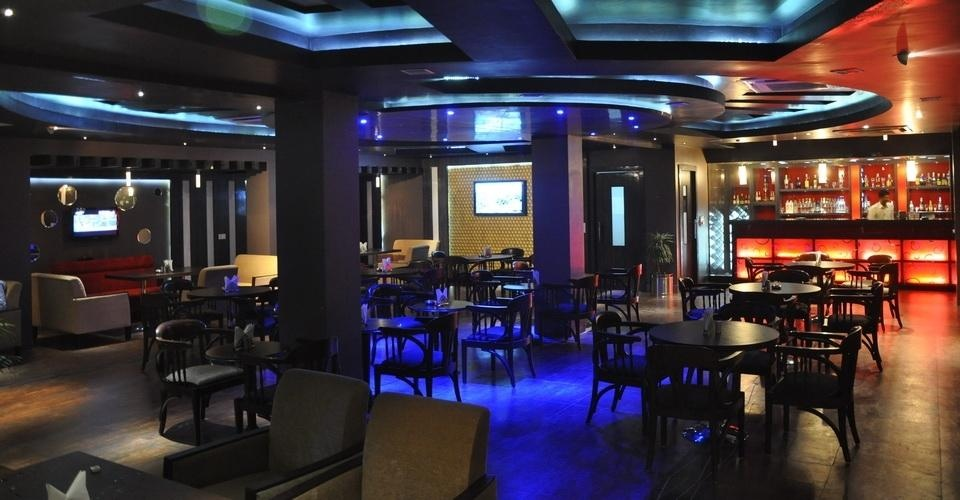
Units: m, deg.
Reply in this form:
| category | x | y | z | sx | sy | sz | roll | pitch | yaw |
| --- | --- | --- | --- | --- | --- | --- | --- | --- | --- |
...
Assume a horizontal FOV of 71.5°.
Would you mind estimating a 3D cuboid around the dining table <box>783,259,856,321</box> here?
| category | x | y | z | sx | sy | sz | roll | pitch | yaw |
| --- | --- | --- | --- | --- | --- | --- | --- | --- | --- |
| dining table | 6.926 | 0.903 | 13.955 | 1.486 | 0.914 | 1.466 | 3 | 8 | 35 |

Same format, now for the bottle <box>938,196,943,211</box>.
| category | x | y | z | sx | sy | sz | roll | pitch | yaw |
| --- | --- | --- | --- | --- | --- | --- | --- | --- | --- |
| bottle | 12.043 | -1.211 | 17.378 | 0.122 | 0.370 | 0.052 | 0 | 1 | 28 |

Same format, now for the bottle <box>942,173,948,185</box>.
| category | x | y | z | sx | sy | sz | roll | pitch | yaw |
| --- | --- | --- | --- | --- | --- | --- | --- | --- | --- |
| bottle | 12.052 | -1.797 | 17.233 | 0.181 | 0.295 | 0.065 | 0 | 1 | 30 |

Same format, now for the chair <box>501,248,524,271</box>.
| category | x | y | z | sx | sy | sz | roll | pitch | yaw |
| --- | --- | --- | --- | --- | --- | --- | --- | --- | --- |
| chair | 0.949 | 0.251 | 18.117 | 0.746 | 0.673 | 0.584 | -1 | -8 | 7 |

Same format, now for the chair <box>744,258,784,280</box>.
| category | x | y | z | sx | sy | sz | roll | pitch | yaw |
| --- | --- | --- | --- | --- | --- | --- | --- | --- | --- |
| chair | 6.819 | 0.455 | 15.872 | 0.700 | 0.782 | 0.619 | -4 | 2 | 17 |

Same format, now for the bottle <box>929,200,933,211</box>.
| category | x | y | z | sx | sy | sz | roll | pitch | yaw |
| --- | --- | --- | --- | --- | --- | --- | --- | --- | --- |
| bottle | 11.859 | -1.143 | 17.449 | 0.103 | 0.224 | 0.056 | 0 | 1 | 29 |

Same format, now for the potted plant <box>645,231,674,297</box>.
| category | x | y | z | sx | sy | sz | roll | pitch | yaw |
| --- | --- | --- | --- | --- | --- | --- | --- | --- | --- |
| potted plant | 4.828 | 0.367 | 17.827 | 0.758 | 1.642 | 0.424 | 0 | 1 | 13 |

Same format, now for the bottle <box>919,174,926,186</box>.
| category | x | y | z | sx | sy | sz | roll | pitch | yaw |
| --- | --- | --- | --- | --- | --- | --- | --- | --- | --- |
| bottle | 11.605 | -1.805 | 17.437 | 0.227 | 0.276 | 0.069 | 0 | 1 | 27 |

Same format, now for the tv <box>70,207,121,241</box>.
| category | x | y | z | sx | sy | sz | roll | pitch | yaw |
| --- | --- | --- | --- | --- | --- | --- | --- | --- | --- |
| tv | -9.606 | -0.632 | 16.553 | 0.124 | 0.610 | 1.027 | -2 | -1 | 41 |

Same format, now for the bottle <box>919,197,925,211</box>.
| category | x | y | z | sx | sy | sz | roll | pitch | yaw |
| --- | --- | --- | --- | --- | --- | --- | --- | --- | --- |
| bottle | 11.655 | -1.210 | 17.531 | 0.166 | 0.349 | 0.068 | 0 | 1 | 27 |

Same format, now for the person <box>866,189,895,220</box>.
| category | x | y | z | sx | sy | sz | roll | pitch | yaw |
| --- | --- | --- | --- | --- | --- | --- | --- | --- | --- |
| person | 10.518 | -1.176 | 17.409 | 0.593 | 0.806 | 1.154 | 0 | 1 | 30 |

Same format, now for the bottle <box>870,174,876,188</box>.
| category | x | y | z | sx | sy | sz | roll | pitch | yaw |
| --- | --- | --- | --- | --- | --- | --- | --- | --- | --- |
| bottle | 10.655 | -1.825 | 18.010 | 0.176 | 0.309 | 0.057 | 0 | 1 | 22 |

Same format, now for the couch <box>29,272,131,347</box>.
| category | x | y | z | sx | sy | sz | roll | pitch | yaw |
| --- | --- | --- | --- | --- | --- | --- | --- | --- | --- |
| couch | -8.524 | 1.180 | 14.148 | 2.119 | 1.215 | 1.161 | 1 | 2 | 35 |

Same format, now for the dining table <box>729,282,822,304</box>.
| category | x | y | z | sx | sy | sz | roll | pitch | yaw |
| --- | --- | --- | --- | --- | --- | --- | --- | --- | --- |
| dining table | 5.268 | 0.738 | 11.862 | 1.492 | 0.267 | 1.157 | 0 | 1 | 22 |

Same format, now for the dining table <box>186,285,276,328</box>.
| category | x | y | z | sx | sy | sz | roll | pitch | yaw |
| --- | --- | --- | --- | --- | --- | --- | --- | --- | --- |
| dining table | -4.731 | 0.910 | 12.752 | 1.495 | 0.664 | 1.378 | 1 | -1 | -31 |

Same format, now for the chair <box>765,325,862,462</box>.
| category | x | y | z | sx | sy | sz | roll | pitch | yaw |
| --- | --- | --- | --- | --- | --- | --- | --- | --- | --- |
| chair | 4.987 | 1.979 | 9.899 | 1.171 | 1.809 | 2.058 | 0 | 1 | 26 |

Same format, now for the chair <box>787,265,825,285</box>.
| category | x | y | z | sx | sy | sz | roll | pitch | yaw |
| --- | --- | --- | --- | --- | --- | --- | --- | --- | --- |
| chair | 6.722 | 0.440 | 13.671 | 0.581 | 0.521 | 0.445 | 5 | 15 | 29 |

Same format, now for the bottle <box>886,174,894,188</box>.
| category | x | y | z | sx | sy | sz | roll | pitch | yaw |
| --- | --- | --- | --- | --- | --- | --- | --- | --- | --- |
| bottle | 10.996 | -1.809 | 17.844 | 0.237 | 0.403 | 0.031 | 0 | 1 | 27 |

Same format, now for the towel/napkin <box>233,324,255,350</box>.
| category | x | y | z | sx | sy | sz | roll | pitch | yaw |
| --- | --- | --- | --- | --- | --- | --- | --- | --- | --- |
| towel/napkin | -3.466 | 1.270 | 9.839 | 0.227 | 0.225 | 0.618 | 0 | 2 | -3 |

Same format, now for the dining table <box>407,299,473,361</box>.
| category | x | y | z | sx | sy | sz | roll | pitch | yaw |
| --- | --- | --- | --- | --- | --- | --- | --- | --- | --- |
| dining table | -0.683 | 1.356 | 11.144 | 1.185 | 0.699 | 1.069 | 1 | 9 | 9 |

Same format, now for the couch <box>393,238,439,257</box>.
| category | x | y | z | sx | sy | sz | roll | pitch | yaw |
| --- | --- | --- | --- | --- | --- | --- | --- | --- | --- |
| couch | -1.968 | -0.103 | 20.057 | 0.889 | 0.630 | 0.789 | 0 | -7 | 12 |

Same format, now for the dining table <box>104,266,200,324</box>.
| category | x | y | z | sx | sy | sz | roll | pitch | yaw |
| --- | --- | --- | --- | --- | --- | --- | --- | --- | --- |
| dining table | -6.867 | 0.974 | 13.940 | 0.813 | 0.890 | 1.459 | 3 | 2 | 18 |

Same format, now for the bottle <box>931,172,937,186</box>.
| category | x | y | z | sx | sy | sz | roll | pitch | yaw |
| --- | --- | --- | --- | --- | --- | --- | --- | --- | --- |
| bottle | 11.843 | -1.843 | 17.336 | 0.163 | 0.322 | 0.056 | 0 | 1 | 28 |

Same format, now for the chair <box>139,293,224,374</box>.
| category | x | y | z | sx | sy | sz | roll | pitch | yaw |
| --- | --- | --- | --- | --- | --- | --- | --- | --- | --- |
| chair | -5.615 | 1.570 | 12.998 | 1.709 | 1.870 | 1.678 | -2 | 2 | -23 |

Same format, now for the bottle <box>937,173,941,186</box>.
| category | x | y | z | sx | sy | sz | roll | pitch | yaw |
| --- | --- | --- | --- | --- | --- | --- | --- | --- | --- |
| bottle | 11.957 | -1.803 | 17.289 | 0.159 | 0.293 | 0.055 | 0 | 1 | 32 |

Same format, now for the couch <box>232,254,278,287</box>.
| category | x | y | z | sx | sy | sz | roll | pitch | yaw |
| --- | --- | --- | --- | --- | --- | --- | --- | --- | --- |
| couch | -5.321 | 0.485 | 15.932 | 0.813 | 0.676 | 1.519 | -1 | 1 | -22 |

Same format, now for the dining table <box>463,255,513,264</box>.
| category | x | y | z | sx | sy | sz | roll | pitch | yaw |
| --- | --- | --- | --- | --- | --- | --- | --- | --- | --- |
| dining table | 0.331 | 0.266 | 17.634 | 0.922 | 0.248 | 1.901 | 0 | 1 | 26 |

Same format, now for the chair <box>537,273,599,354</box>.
| category | x | y | z | sx | sy | sz | roll | pitch | yaw |
| --- | --- | --- | --- | --- | --- | --- | --- | --- | --- |
| chair | 1.815 | 1.153 | 13.132 | 1.043 | 1.145 | 1.102 | -3 | -2 | 31 |

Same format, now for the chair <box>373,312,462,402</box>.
| category | x | y | z | sx | sy | sz | roll | pitch | yaw |
| --- | --- | --- | --- | --- | --- | --- | --- | --- | --- |
| chair | -0.937 | 1.717 | 10.392 | 1.311 | 1.422 | 0.755 | 0 | 1 | -3 |

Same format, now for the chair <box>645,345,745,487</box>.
| category | x | y | z | sx | sy | sz | roll | pitch | yaw |
| --- | --- | --- | --- | --- | --- | --- | --- | --- | --- |
| chair | 2.975 | 2.125 | 9.214 | 1.058 | 1.730 | 1.306 | 1 | 1 | 41 |

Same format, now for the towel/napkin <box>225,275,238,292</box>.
| category | x | y | z | sx | sy | sz | roll | pitch | yaw |
| --- | --- | --- | --- | --- | --- | --- | --- | --- | --- |
| towel/napkin | -4.829 | 0.673 | 12.975 | 0.279 | 0.290 | 0.264 | 2 | -11 | -16 |
